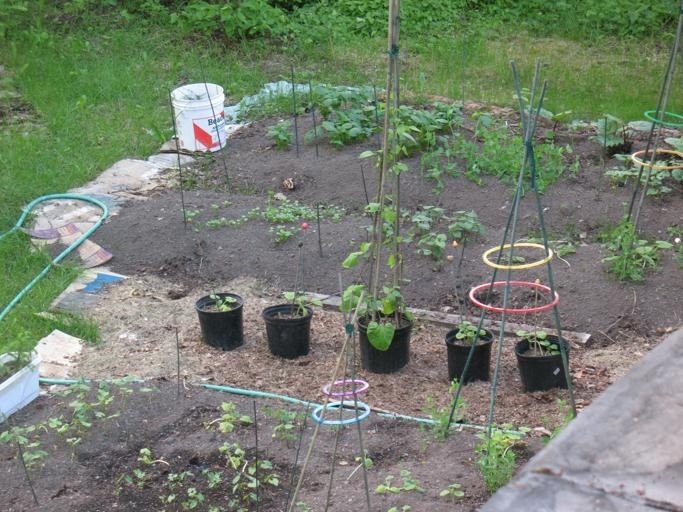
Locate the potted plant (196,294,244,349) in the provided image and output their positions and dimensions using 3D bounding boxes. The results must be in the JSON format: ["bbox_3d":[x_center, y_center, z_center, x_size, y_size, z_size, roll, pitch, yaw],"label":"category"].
[{"bbox_3d":[-1.093,0.601,6.909,0.432,0.404,0.407,-3,22,-5],"label":"potted plant"}]

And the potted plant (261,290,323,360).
[{"bbox_3d":[-0.470,0.591,6.787,0.400,0.485,0.480,16,24,42],"label":"potted plant"}]

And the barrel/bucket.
[{"bbox_3d":[-1.946,-1.983,10.723,0.987,0.935,0.950,-1,33,1],"label":"barrel/bucket"}]

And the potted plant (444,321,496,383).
[{"bbox_3d":[1.067,0.838,6.354,0.378,0.358,0.351,8,64,-20],"label":"potted plant"}]

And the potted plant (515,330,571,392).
[{"bbox_3d":[1.624,0.897,6.108,0.392,0.431,0.423,3,19,31],"label":"potted plant"}]
